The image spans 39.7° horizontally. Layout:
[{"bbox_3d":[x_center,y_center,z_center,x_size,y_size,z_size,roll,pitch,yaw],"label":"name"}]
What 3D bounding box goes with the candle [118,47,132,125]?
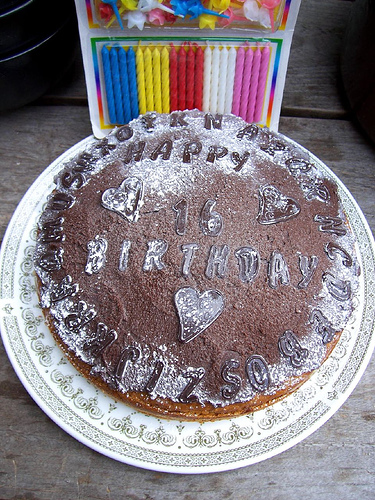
[{"bbox_3d":[-0.216,-0.577,1.807,0.042,0.248,0.043,13,23,41],"label":"candle"}]
